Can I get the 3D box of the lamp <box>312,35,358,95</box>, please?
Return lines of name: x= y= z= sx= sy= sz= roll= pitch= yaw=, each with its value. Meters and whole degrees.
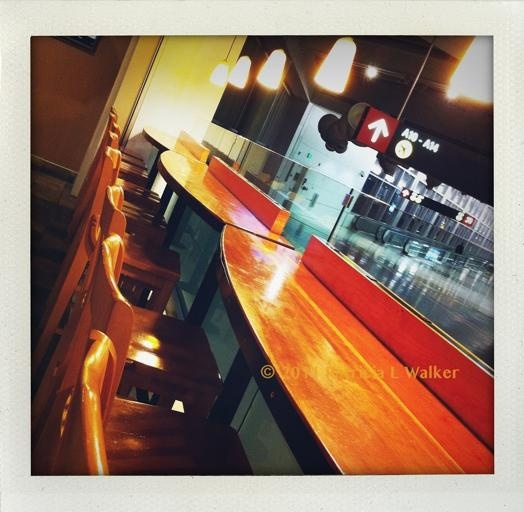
lamp: x=0.353 y=-0.907 z=1.987 sx=0.164 sy=0.200 sz=0.242 roll=23 pitch=11 yaw=3
